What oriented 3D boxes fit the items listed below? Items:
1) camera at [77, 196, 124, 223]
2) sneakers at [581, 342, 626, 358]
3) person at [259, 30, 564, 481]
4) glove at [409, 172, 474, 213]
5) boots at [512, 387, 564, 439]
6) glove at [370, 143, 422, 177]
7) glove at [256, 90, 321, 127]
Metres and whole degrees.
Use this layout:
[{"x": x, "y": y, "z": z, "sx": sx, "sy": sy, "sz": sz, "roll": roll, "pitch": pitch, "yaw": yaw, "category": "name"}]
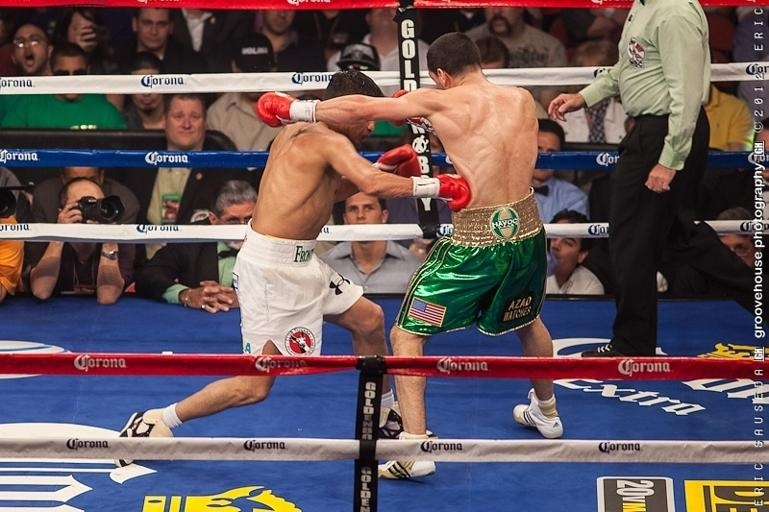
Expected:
[{"x": -1.854, "y": -0.306, "z": 7.292, "sx": 0.261, "sy": 0.129, "sz": 0.191, "roll": -1, "pitch": 3, "yaw": 34, "category": "camera"}, {"x": 1.323, "y": 0.561, "z": 6.678, "sx": 0.333, "sy": 0.109, "sz": 0.102, "roll": 2, "pitch": -6, "yaw": 7, "category": "sneakers"}, {"x": 0.303, "y": -0.265, "z": 6.066, "sx": 1.190, "sy": 1.673, "sz": 0.940, "roll": -7, "pitch": 29, "yaw": -7, "category": "person"}, {"x": 0.309, "y": -0.337, "z": 5.956, "sx": 0.285, "sy": 0.113, "sz": 0.173, "roll": 3, "pitch": 55, "yaw": -9, "category": "glove"}, {"x": 0.878, "y": 0.859, "z": 6.376, "sx": 0.155, "sy": 0.251, "sz": 0.407, "roll": -14, "pitch": 15, "yaw": -28, "category": "boots"}, {"x": 0.076, "y": -0.512, "z": 6.204, "sx": 0.258, "sy": 0.142, "sz": 0.220, "roll": -14, "pitch": 46, "yaw": -11, "category": "glove"}, {"x": -0.517, "y": -0.806, "z": 6.066, "sx": 0.276, "sy": 0.108, "sz": 0.178, "roll": -4, "pitch": 33, "yaw": 20, "category": "glove"}]
